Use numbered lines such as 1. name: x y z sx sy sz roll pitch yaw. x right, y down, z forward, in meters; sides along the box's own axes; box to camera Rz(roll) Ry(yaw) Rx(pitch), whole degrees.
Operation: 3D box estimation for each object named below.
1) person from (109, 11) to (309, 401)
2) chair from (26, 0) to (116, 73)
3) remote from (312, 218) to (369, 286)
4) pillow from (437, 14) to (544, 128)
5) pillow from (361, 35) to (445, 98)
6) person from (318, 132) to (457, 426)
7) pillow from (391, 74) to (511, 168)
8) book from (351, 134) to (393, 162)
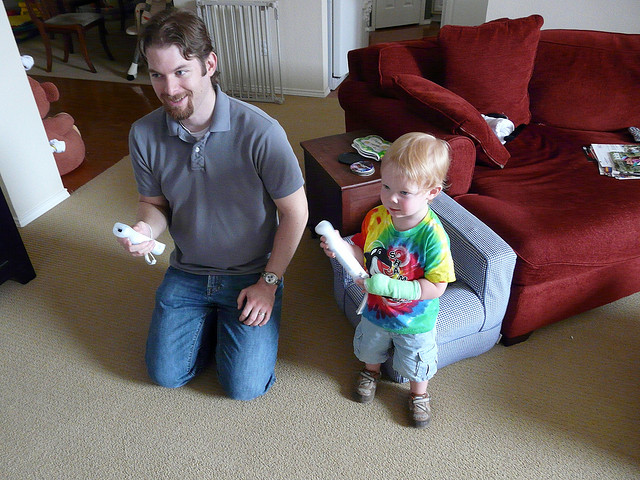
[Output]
1. person: -0.419 -0.076 1.885 0.720 1.432 0.607 0 33 2
2. chair: -2.988 -2.515 5.781 0.767 0.693 1.501 -13 34 -18
3. remote: 0.081 0.038 1.639 0.177 0.225 0.090 5 33 9
4. pillow: 0.936 -0.961 2.747 0.574 0.612 0.233 3 42 18
5. pillow: 0.451 -0.996 2.716 0.511 0.277 0.170 -11 11 -27
6. person: 0.276 0.155 1.824 0.438 1.078 0.397 11 35 18
7. pillow: 0.640 -0.567 2.410 0.624 0.426 0.292 11 35 18
8. book: 0.249 -0.464 2.368 0.169 0.050 0.165 -5 33 -16
